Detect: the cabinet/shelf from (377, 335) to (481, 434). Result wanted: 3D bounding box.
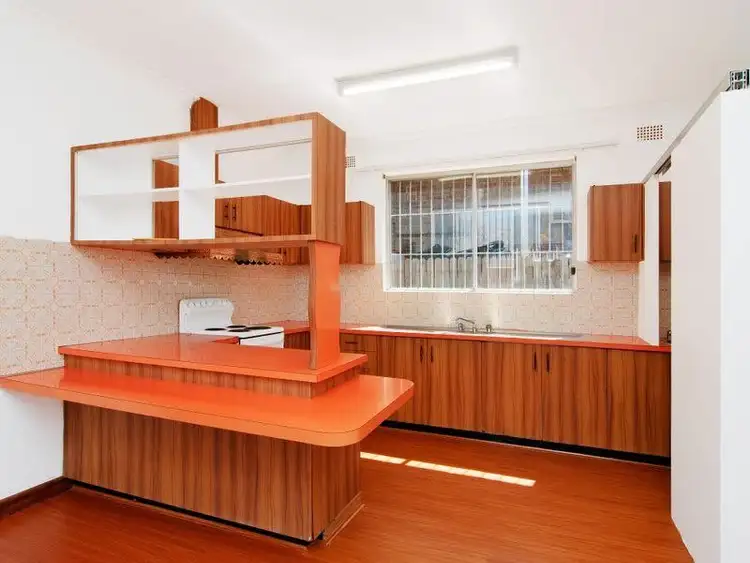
[{"bbox_3d":[0.530,1.096,6.059,1.122,0.965,0.406,5,-29,-3],"label":"cabinet/shelf"}]

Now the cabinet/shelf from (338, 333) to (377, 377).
[{"bbox_3d":[-0.186,0.772,6.285,0.452,0.408,0.113,8,15,33],"label":"cabinet/shelf"}]

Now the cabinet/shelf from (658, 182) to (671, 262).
[{"bbox_3d":[2.675,-0.571,5.371,0.153,0.764,0.080,-1,0,-41],"label":"cabinet/shelf"}]

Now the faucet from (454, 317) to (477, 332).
[{"bbox_3d":[1.023,0.488,6.361,0.236,0.120,0.302,2,12,7],"label":"faucet"}]

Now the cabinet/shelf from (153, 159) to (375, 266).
[{"bbox_3d":[-1.052,-0.634,5.916,1.054,0.685,1.597,-2,-2,19],"label":"cabinet/shelf"}]

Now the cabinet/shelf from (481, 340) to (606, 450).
[{"bbox_3d":[1.670,1.086,5.507,1.045,0.861,0.397,-1,-4,22],"label":"cabinet/shelf"}]

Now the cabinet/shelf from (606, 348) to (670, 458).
[{"bbox_3d":[2.413,1.107,5.505,0.633,0.966,0.613,-1,-3,2],"label":"cabinet/shelf"}]

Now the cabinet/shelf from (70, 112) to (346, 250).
[{"bbox_3d":[-1.381,-0.709,4.604,2.285,0.841,0.622,0,3,20],"label":"cabinet/shelf"}]
